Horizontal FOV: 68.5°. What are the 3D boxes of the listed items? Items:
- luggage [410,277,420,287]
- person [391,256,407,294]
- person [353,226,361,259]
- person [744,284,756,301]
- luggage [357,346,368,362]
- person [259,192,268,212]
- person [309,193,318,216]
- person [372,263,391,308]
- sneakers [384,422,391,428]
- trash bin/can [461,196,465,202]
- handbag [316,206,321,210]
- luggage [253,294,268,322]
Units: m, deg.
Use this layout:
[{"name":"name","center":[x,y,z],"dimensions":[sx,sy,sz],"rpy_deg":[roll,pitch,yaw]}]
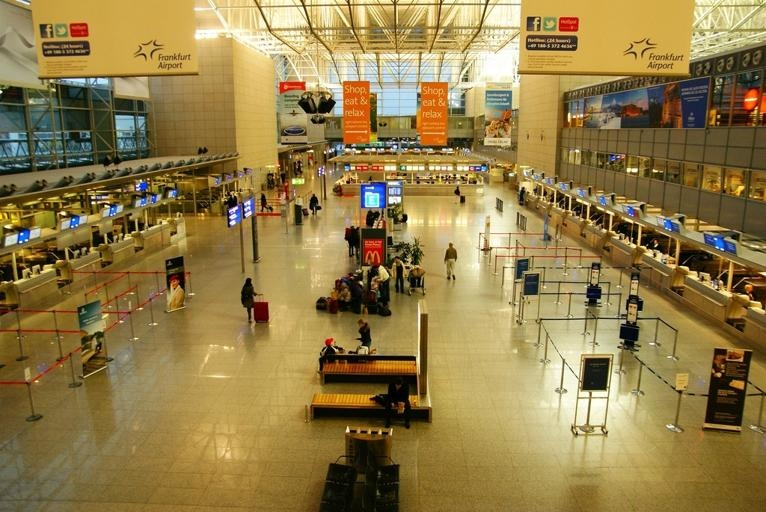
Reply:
[{"name":"luggage","center":[1.255,1.008,22.345],"dimensions":[0.419,0.375,0.402],"rpy_deg":[1,1,4]},{"name":"person","center":[0.614,0.705,22.638],"dimensions":[0.497,1.315,1.152],"rpy_deg":[1,9,1]},{"name":"person","center":[-1.430,-0.674,26.480],"dimensions":[0.413,1.372,1.341],"rpy_deg":[0,9,-6]},{"name":"person","center":[12.530,1.227,19.030],"dimensions":[0.295,0.556,0.881],"rpy_deg":[7,11,34]},{"name":"luggage","center":[-0.660,2.883,16.749],"dimensions":[0.380,0.444,0.372],"rpy_deg":[0,-1,-11]},{"name":"person","center":[-8.482,-3.763,39.234],"dimensions":[0.475,1.209,2.327],"rpy_deg":[-1,9,-12]},{"name":"person","center":[-4.797,-3.548,38.145],"dimensions":[0.660,1.291,1.732],"rpy_deg":[-1,9,-9]},{"name":"person","center":[-0.123,1.112,20.632],"dimensions":[0.524,1.508,0.876],"rpy_deg":[3,9,12]},{"name":"sneakers","center":[0.077,4.341,14.441],"dimensions":[0.135,0.190,0.123],"rpy_deg":[0,0,0]},{"name":"trash bin/can","center":[6.107,-4.467,43.390],"dimensions":[0.472,0.482,0.445],"rpy_deg":[0,10,6]},{"name":"handbag","center":[-4.546,-3.365,38.132],"dimensions":[0.211,0.243,0.372],"rpy_deg":[2,6,9]},{"name":"luggage","center":[-4.338,1.898,19.487],"dimensions":[0.528,0.743,0.465],"rpy_deg":[-1,9,-10]}]
